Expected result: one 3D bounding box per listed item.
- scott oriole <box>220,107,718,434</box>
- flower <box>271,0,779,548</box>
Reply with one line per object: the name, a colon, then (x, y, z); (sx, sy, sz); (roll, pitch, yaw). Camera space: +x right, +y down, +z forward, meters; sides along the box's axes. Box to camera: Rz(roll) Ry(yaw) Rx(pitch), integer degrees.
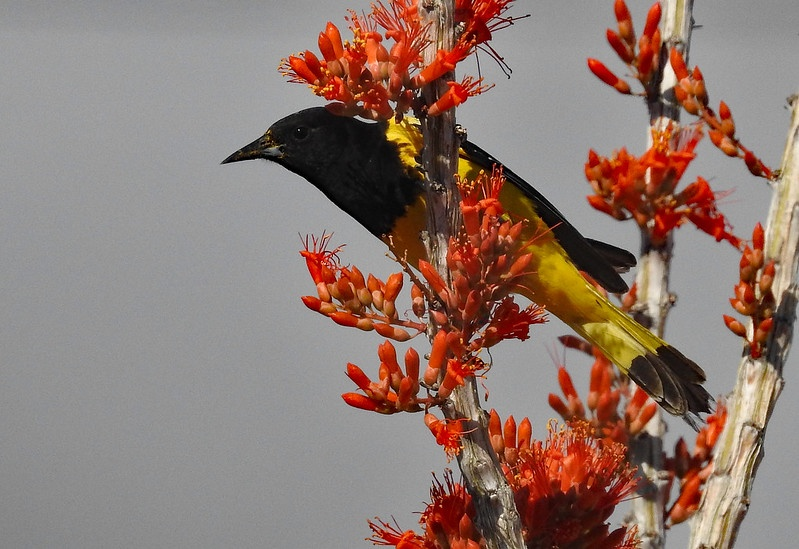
scott oriole: (0.266, -0.059, 4.924); (1.338, 0.349, 0.415); (25, 30, 1)
flower: (0.368, 0.008, 4.894); (0.491, 1.504, 0.917); (-21, 4, 4)
